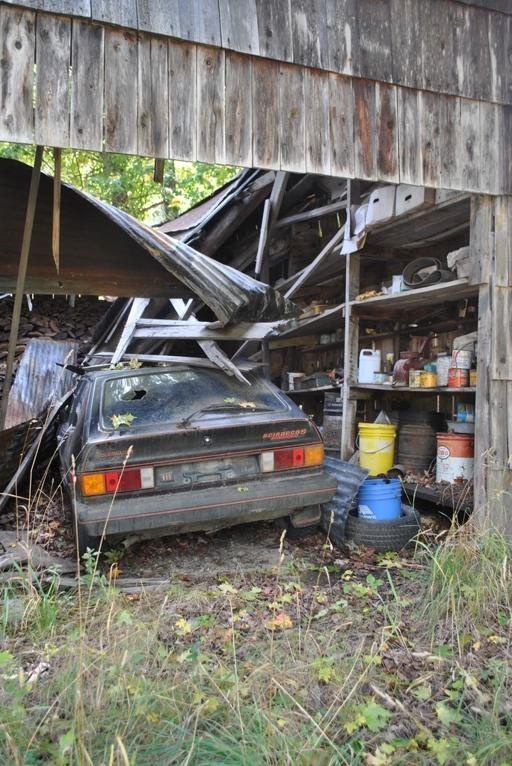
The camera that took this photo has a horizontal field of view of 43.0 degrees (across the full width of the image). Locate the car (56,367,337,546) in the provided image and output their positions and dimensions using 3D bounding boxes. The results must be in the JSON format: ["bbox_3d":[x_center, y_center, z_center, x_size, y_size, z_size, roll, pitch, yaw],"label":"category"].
[{"bbox_3d":[-0.393,0.489,4.270,1.060,0.796,1.834,-3,8,-19],"label":"car"}]

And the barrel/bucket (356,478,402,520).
[{"bbox_3d":[0.909,0.853,4.815,0.279,0.283,0.290,0,-5,0],"label":"barrel/bucket"}]
